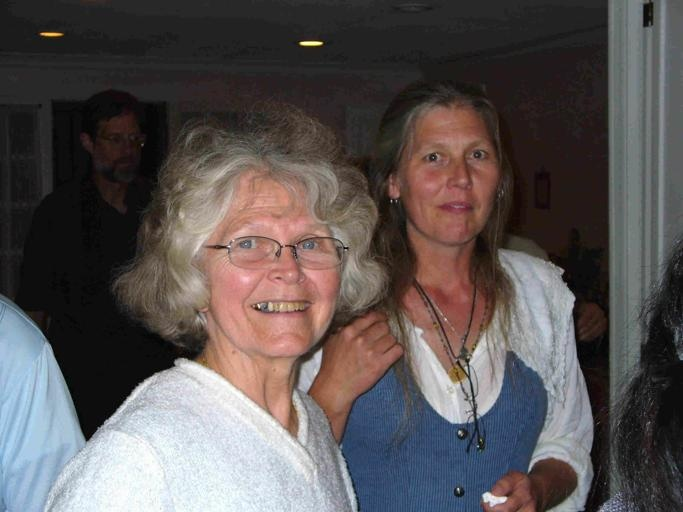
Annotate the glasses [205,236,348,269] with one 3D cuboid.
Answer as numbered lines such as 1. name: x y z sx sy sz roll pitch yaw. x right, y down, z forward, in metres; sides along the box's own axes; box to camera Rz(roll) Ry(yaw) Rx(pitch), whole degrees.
1. glasses: -0.124 -0.009 1.637 0.390 0.081 0.125 0 2 -38
